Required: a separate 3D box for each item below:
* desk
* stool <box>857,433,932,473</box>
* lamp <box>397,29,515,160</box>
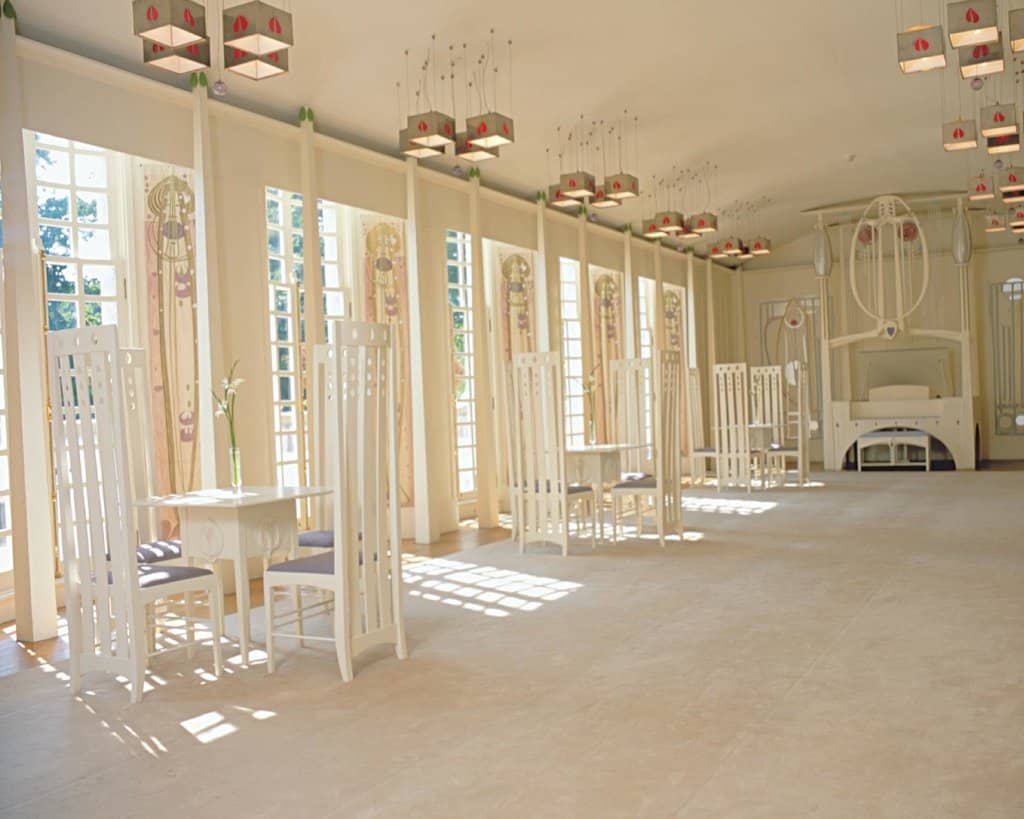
[{"bbox_3d":[7.278,0.475,14.776,2.428,1.188,1.672,-3,-5,33],"label":"desk"},{"bbox_3d":[6.874,0.637,14.315,0.988,0.478,0.993,-1,-3,15],"label":"stool"},{"bbox_3d":[-0.501,-2.878,7.523,1.085,0.968,1.102,2,4,35],"label":"lamp"}]
